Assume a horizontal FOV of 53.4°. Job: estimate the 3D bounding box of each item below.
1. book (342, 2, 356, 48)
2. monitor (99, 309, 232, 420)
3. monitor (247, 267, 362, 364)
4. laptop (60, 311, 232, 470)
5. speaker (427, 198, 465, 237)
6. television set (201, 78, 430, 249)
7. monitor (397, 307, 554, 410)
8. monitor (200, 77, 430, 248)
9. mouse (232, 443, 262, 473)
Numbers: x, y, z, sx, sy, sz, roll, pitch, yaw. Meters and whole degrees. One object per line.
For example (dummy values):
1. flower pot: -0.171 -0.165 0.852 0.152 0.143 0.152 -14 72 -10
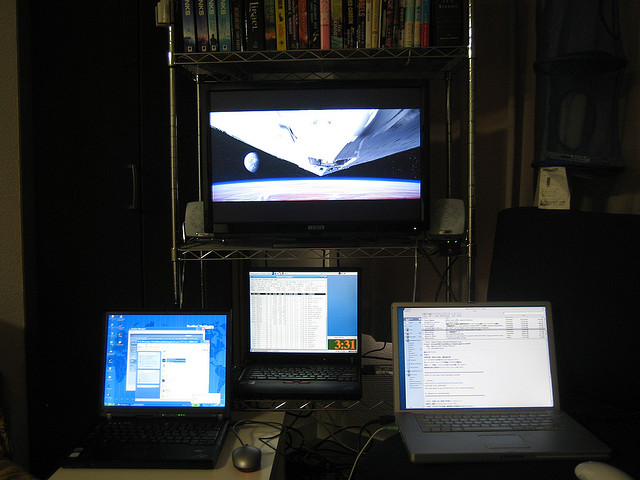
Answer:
1. book: 0.118 -0.876 2.599 0.052 0.139 0.145 -5 -68 -9
2. monitor: -0.566 0.460 2.471 0.626 0.365 0.417 0 -96 1
3. monitor: 0.026 0.327 2.737 0.583 0.346 0.391 -4 -96 30
4. laptop: -0.582 0.491 2.249 0.590 0.517 0.427 0 -89 4
5. speaker: 0.544 -0.073 2.733 0.213 0.116 0.199 0 -106 11
6. television set: -0.003 -0.331 2.645 0.711 0.102 0.498 0 -89 2
7. monitor: 0.556 0.413 2.176 0.510 0.308 0.352 0 -89 1
8. monitor: -0.006 -0.330 2.646 0.708 0.107 0.499 0 -90 2
9. mouse: -0.252 0.746 2.181 0.083 0.082 0.060 2 -89 -17
